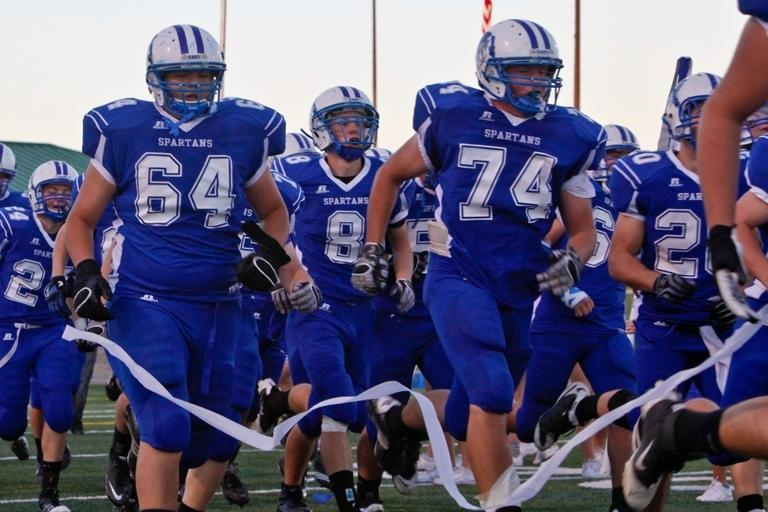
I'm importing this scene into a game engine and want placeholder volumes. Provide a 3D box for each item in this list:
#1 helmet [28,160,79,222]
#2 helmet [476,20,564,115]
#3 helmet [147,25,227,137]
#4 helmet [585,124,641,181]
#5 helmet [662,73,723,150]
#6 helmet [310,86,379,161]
[{"bbox_3d":[-2.393,-0.482,6.687,0.326,0.462,0.564,0,-2,-21],"label":"helmet"},{"bbox_3d":[0.676,-0.967,4.748,0.440,0.472,0.526,-6,14,-37],"label":"helmet"},{"bbox_3d":[-0.982,-0.893,4.501,0.369,0.456,0.446,-6,14,-29],"label":"helmet"},{"bbox_3d":[1.846,-0.821,7.643,0.487,0.446,0.364,-12,10,13],"label":"helmet"},{"bbox_3d":[1.644,-0.795,4.995,0.293,0.393,0.243,-1,-2,20],"label":"helmet"},{"bbox_3d":[-0.242,-0.882,6.118,0.488,0.476,0.554,-2,4,0],"label":"helmet"}]
